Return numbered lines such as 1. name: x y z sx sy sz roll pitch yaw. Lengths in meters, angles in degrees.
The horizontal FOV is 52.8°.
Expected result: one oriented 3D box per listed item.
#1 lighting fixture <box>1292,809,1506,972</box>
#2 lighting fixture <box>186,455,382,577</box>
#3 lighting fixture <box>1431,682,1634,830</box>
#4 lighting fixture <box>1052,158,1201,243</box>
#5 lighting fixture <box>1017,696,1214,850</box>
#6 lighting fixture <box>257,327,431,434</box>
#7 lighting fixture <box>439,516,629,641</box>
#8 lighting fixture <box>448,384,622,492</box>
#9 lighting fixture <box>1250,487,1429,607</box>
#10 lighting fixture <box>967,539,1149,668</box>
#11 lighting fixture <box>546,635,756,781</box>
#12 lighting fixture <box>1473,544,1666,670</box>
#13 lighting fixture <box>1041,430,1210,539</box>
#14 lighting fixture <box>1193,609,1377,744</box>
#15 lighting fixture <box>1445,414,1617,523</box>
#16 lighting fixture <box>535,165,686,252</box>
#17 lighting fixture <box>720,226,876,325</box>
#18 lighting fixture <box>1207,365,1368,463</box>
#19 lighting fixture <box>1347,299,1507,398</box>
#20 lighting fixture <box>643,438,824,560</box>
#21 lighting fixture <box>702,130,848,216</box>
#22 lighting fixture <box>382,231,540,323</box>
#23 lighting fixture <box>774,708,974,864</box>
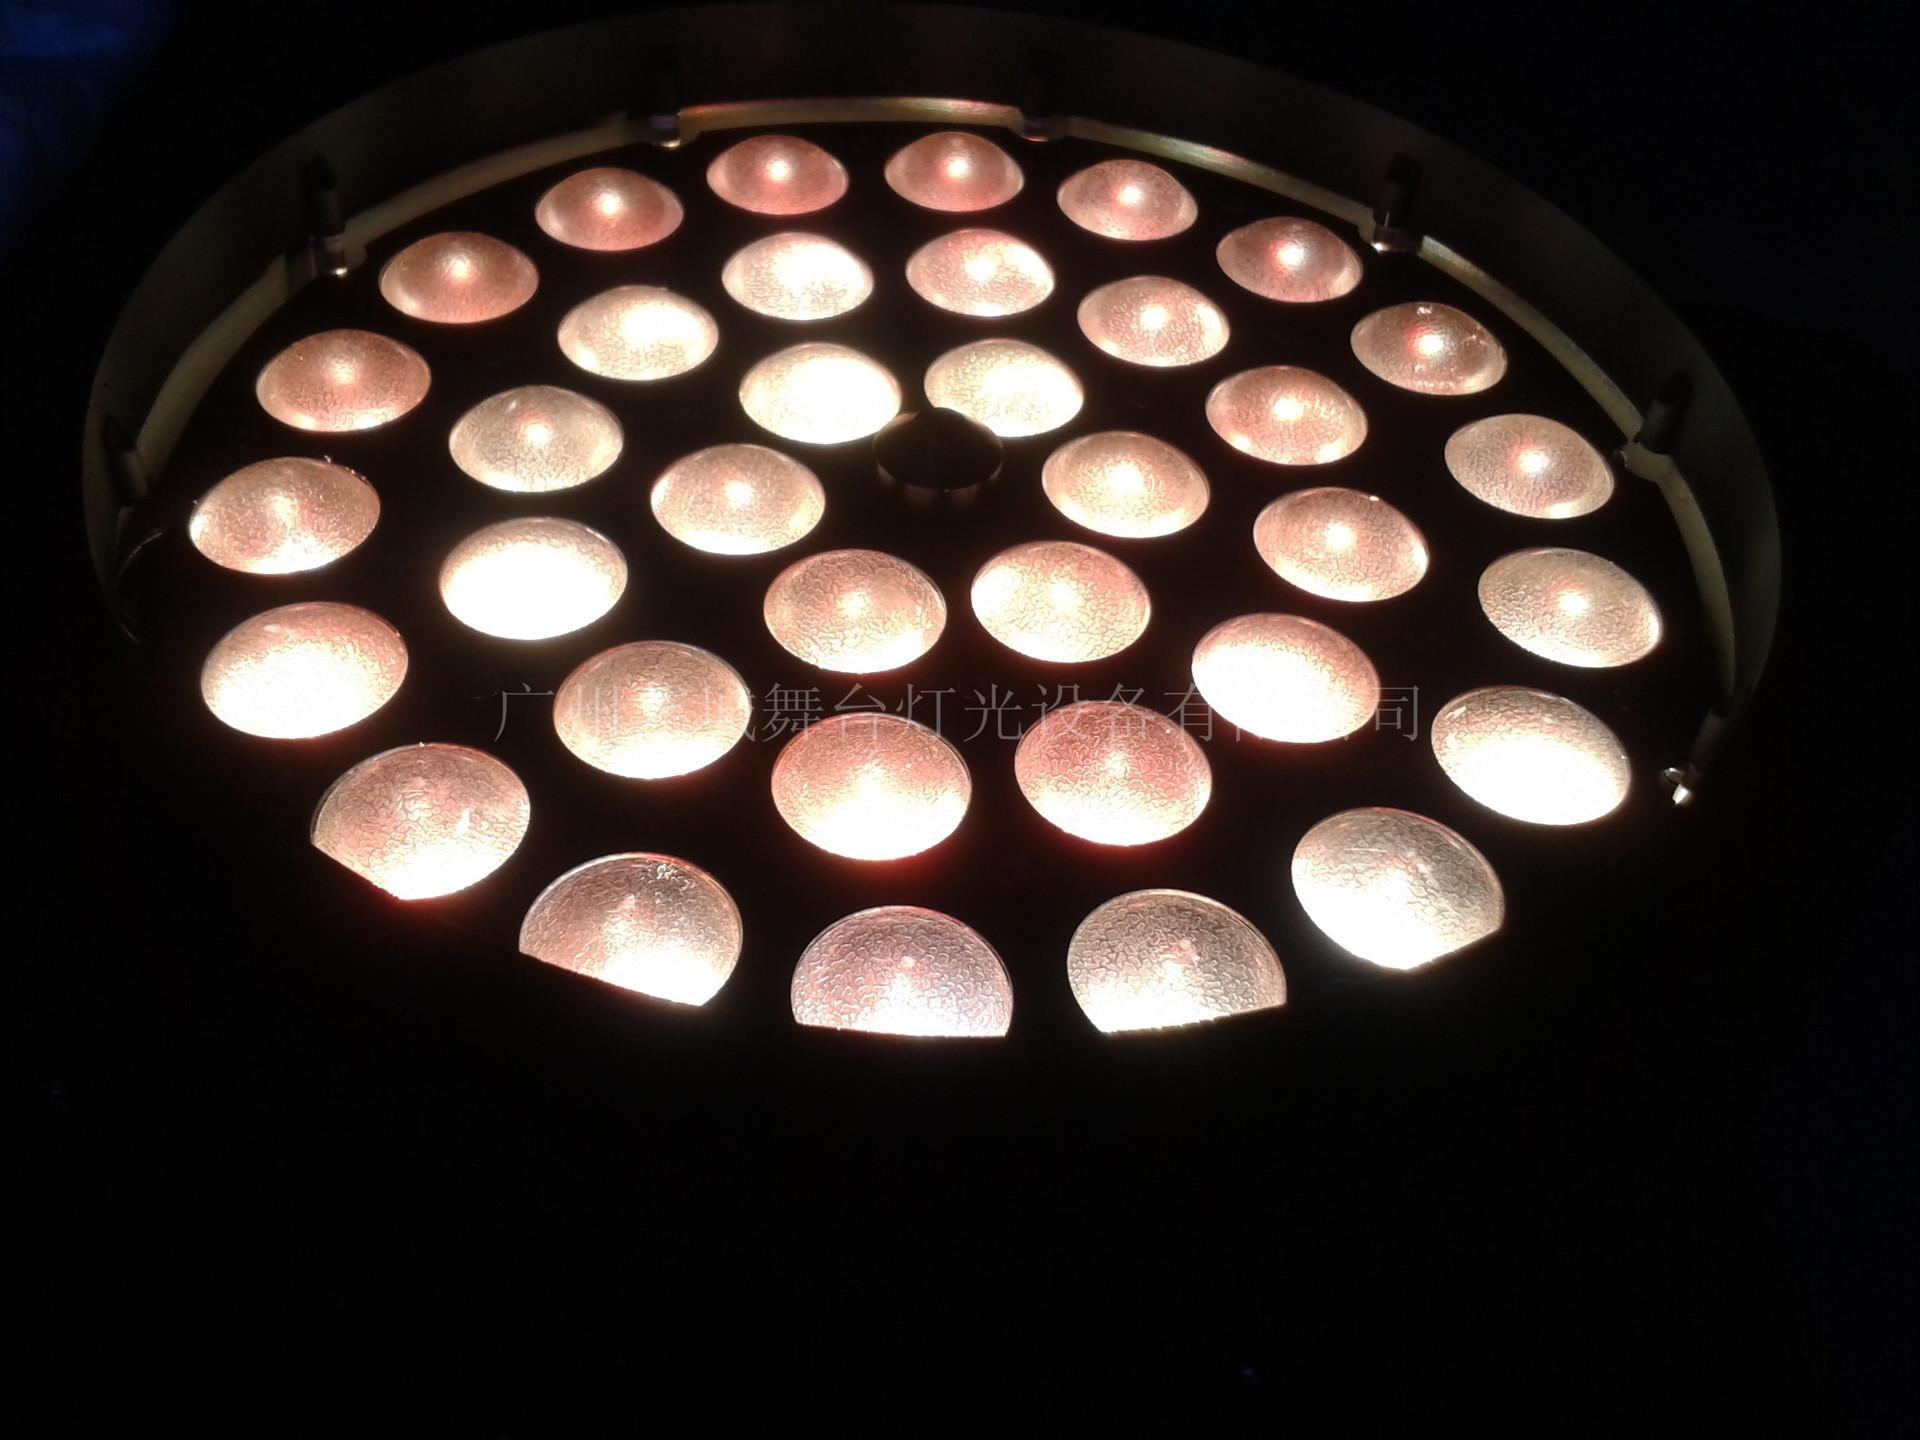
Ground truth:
1. lighting fixture: 0.275 0.100 1.221 0.125 0.038 0.111 -17 71 -14
2. lighting fixture: -0.458 -0.137 1.316 0.124 0.016 0.095 -6 69 -10
3. lighting fixture: 0.378 0.023 1.275 0.090 0.022 0.093 32 55 16
4. lighting fixture: 0.139 -0.419 1.563 0.078 0.024 0.086 20 49 14
5. lighting fixture: 0.101 0.035 1.259 0.128 0.021 0.105 4 67 -6
6. lighting fixture: -0.451 -0.241 1.390 0.082 0.025 0.092 3 54 -6
7. lighting fixture: -0.288 -0.096 1.310 0.124 0.018 0.099 -2 68 -9
8. lighting fixture: -0.306 -0.194 1.368 0.082 0.025 0.091 -5 51 -13
9. lighting fixture: 0.270 -0.120 1.364 0.123 0.020 0.091 4 67 -6
10. lighting fixture: 0.074 -0.079 1.329 0.086 0.022 0.093 10 56 2
11. lighting fixture: -0.200 -0.007 1.263 0.124 0.018 0.105 16 66 -1
12. lighting fixture: 0.426 -0.076 1.346 0.124 0.021 0.096 3 67 -6
13. lighting fixture: 0.125 -0.164 1.378 0.083 0.020 0.090 12 63 -3
14. lighting fixture: 0.221 -0.026 1.300 0.088 0.017 0.094 21 53 3
15. lighting fixture: 0.418 -0.184 1.416 0.123 0.018 0.093 1 68 -7
16. lighting fixture: -0.274 -0.399 1.513 0.114 0.017 0.087 1 68 -8
17. lighting fixture: -0.124 -0.339 1.481 0.116 0.021 0.089 16 66 -1
18. lighting fixture: 0.242 -0.222 1.428 0.120 0.016 0.086 11 67 -3
19. lighting fixture: 0.360 -0.283 1.479 0.119 0.018 0.090 2 67 -7
20. lighting fixture: -0.155 -0.155 1.351 0.082 0.025 0.093 6 50 -1
21. lighting fixture: -0.148 -0.439 1.559 0.079 0.023 0.085 12 48 4
22. lighting fixture: -0.377 -0.330 1.453 0.115 0.015 0.086 -4 68 -9
23. lighting fixture: -0.057 0.045 1.242 0.126 0.018 0.101 1 68 -7
